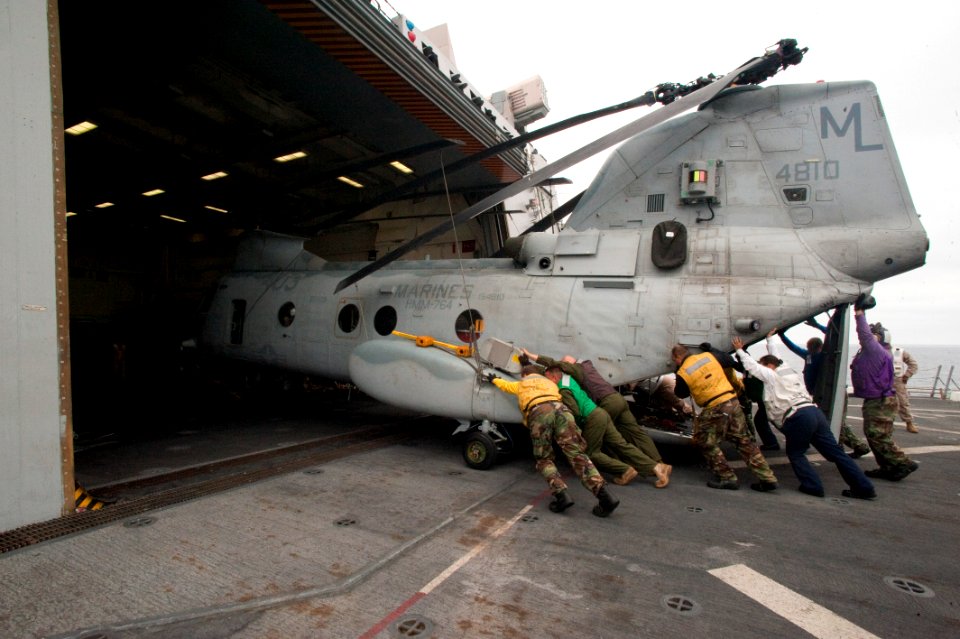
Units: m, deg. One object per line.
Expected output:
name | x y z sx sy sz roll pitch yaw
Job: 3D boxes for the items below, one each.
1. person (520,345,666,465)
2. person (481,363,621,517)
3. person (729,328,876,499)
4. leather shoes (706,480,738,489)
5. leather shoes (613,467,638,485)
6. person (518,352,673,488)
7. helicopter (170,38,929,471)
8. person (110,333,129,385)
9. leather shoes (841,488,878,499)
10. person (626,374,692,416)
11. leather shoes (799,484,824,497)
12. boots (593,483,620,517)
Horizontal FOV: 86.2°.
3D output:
person | 1.475 1.457 7.696 0.471 2.017 1.216 -44 -16 22
person | 0.805 1.584 6.523 1.035 1.860 0.467 11 -46 -39
person | 4.275 1.300 7.123 0.611 2.472 0.966 -41 -23 26
leather shoes | 3.264 2.255 7.029 0.366 0.132 0.157 2 -1 32
leather shoes | 1.973 2.212 7.239 0.266 0.126 0.343 -26 4 -32
person | 1.695 1.505 7.345 2.323 0.653 1.140 30 -17 7
helicopter | 1.451 -1.101 10.186 10.833 4.172 5.492 -2 -11 30
person | -10.514 1.215 14.936 0.828 1.525 0.285 8 13 39
leather shoes | 4.905 2.273 6.740 0.388 0.142 0.143 3 2 38
person | 3.153 1.323 9.104 1.171 0.497 0.901 10 11 25
leather shoes | 4.371 2.256 6.849 0.289 0.134 0.234 5 10 28
boots | 1.460 2.150 6.133 0.282 0.366 0.220 2 10 11
